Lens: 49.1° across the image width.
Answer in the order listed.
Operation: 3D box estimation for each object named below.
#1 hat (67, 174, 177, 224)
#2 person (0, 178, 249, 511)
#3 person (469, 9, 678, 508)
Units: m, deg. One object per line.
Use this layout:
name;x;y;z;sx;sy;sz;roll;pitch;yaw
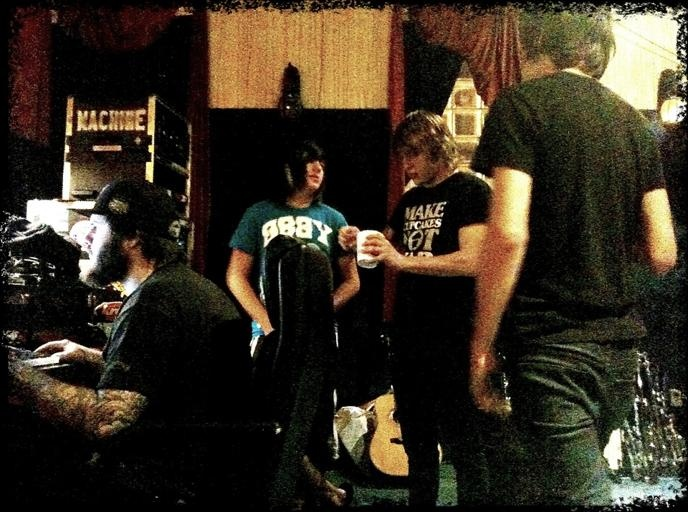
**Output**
hat;-1.192;-0.320;4.023;0.658;0.197;0.382;7;18;-7
person;-1.096;0.461;3.853;1.204;1.692;0.345;5;5;14
person;0.966;0.084;3.338;0.809;2.342;0.632;6;5;21
